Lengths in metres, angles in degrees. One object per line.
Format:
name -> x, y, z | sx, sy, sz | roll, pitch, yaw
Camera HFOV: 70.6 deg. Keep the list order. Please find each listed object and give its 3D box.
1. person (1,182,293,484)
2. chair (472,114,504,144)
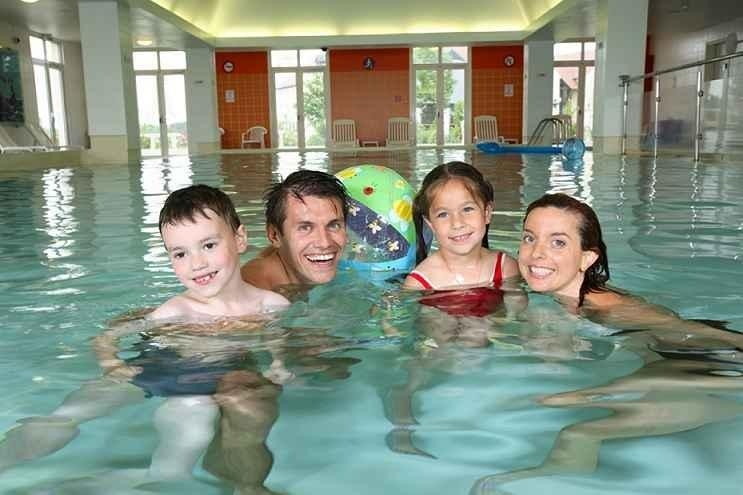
person -> -0.662, 0.159, 1.640 | 0.716, 0.684, 1.114 | -4, 9, -6
chair -> 3.859, -3.958, 17.546 | 0.894, 0.931, 0.832 | -2, 10, 9
